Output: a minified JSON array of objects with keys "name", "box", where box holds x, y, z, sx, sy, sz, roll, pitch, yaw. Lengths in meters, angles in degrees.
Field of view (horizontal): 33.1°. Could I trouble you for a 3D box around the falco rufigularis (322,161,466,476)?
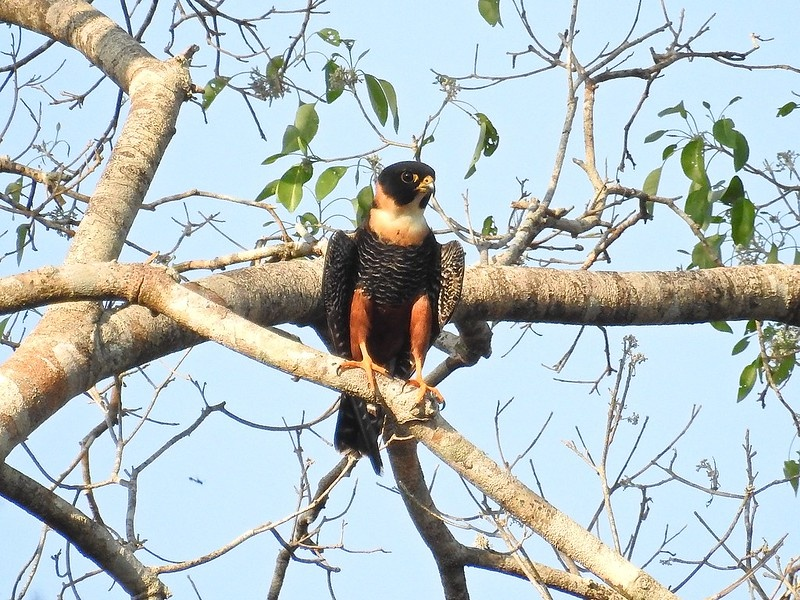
[{"name":"falco rufigularis","box":[-0.102,0.042,7.115,0.636,1.331,1.199,7,-21,-16]}]
